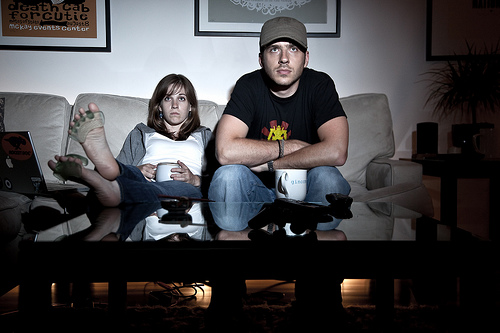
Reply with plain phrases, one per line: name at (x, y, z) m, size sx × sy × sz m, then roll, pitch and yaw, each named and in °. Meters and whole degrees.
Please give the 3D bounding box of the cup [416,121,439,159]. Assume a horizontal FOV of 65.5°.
cup at (1.225, -0.185, 2.699) m, size 0.162 × 0.235 × 0.146 m, roll 4°, pitch -13°, yaw 9°

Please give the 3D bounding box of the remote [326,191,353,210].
remote at (0.384, 0.149, 1.707) m, size 0.091 × 0.028 × 0.066 m, roll 3°, pitch 13°, yaw -35°

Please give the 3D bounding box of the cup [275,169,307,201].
cup at (0.180, 0.087, 1.788) m, size 0.133 × 0.139 × 0.197 m, roll 3°, pitch 1°, yaw 32°

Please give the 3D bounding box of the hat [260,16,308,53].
hat at (0.183, -0.768, 2.262) m, size 0.294 × 0.175 × 0.375 m, roll 0°, pitch 7°, yaw -10°

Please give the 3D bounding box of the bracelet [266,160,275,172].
bracelet at (0.108, 0.002, 2.139) m, size 0.039 × 0.069 × 0.053 m, roll -2°, pitch 7°, yaw -1°

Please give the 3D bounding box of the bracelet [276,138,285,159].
bracelet at (0.164, -0.097, 2.097) m, size 0.030 × 0.074 × 0.061 m, roll 3°, pitch -3°, yaw -6°

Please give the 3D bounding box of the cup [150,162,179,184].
cup at (-0.432, 0.029, 1.964) m, size 0.100 × 0.092 × 0.099 m, roll 8°, pitch 7°, yaw -1°

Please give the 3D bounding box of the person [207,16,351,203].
person at (0.172, -0.327, 2.433) m, size 0.799 × 1.137 × 1.081 m, roll 1°, pitch 12°, yaw 4°
